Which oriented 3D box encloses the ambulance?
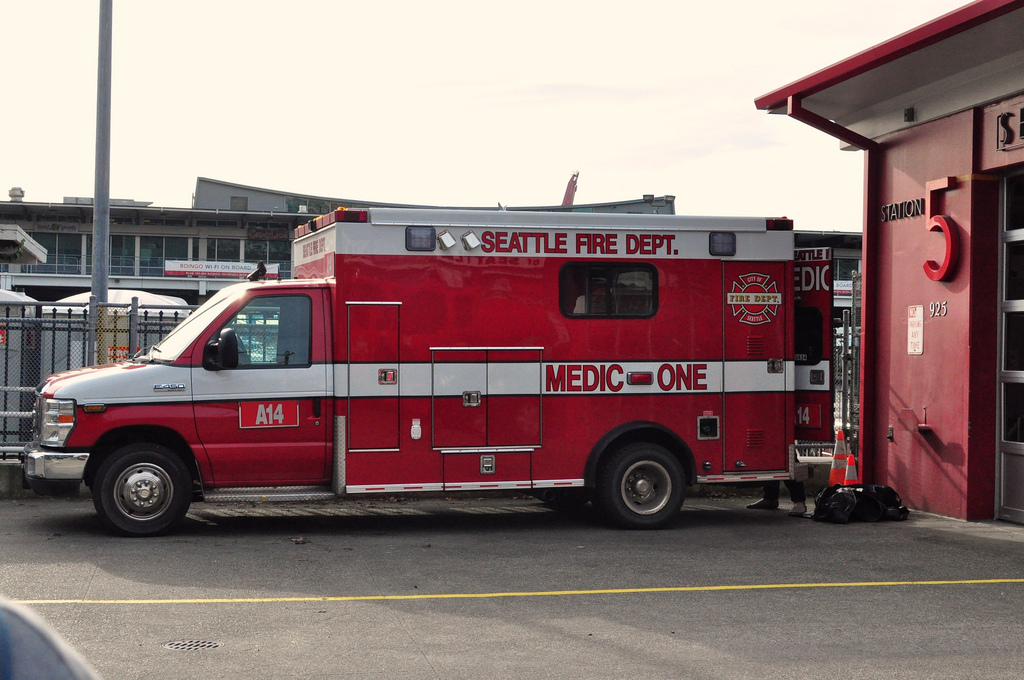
[{"bbox_3d":[-0.763,0.572,17.678,9.666,4.148,3.246,0,-1,-12],"label":"ambulance"}]

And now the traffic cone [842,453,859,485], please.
[{"bbox_3d":[4.639,1.780,19.305,0.335,0.435,0.333,-4,-1,13],"label":"traffic cone"}]
